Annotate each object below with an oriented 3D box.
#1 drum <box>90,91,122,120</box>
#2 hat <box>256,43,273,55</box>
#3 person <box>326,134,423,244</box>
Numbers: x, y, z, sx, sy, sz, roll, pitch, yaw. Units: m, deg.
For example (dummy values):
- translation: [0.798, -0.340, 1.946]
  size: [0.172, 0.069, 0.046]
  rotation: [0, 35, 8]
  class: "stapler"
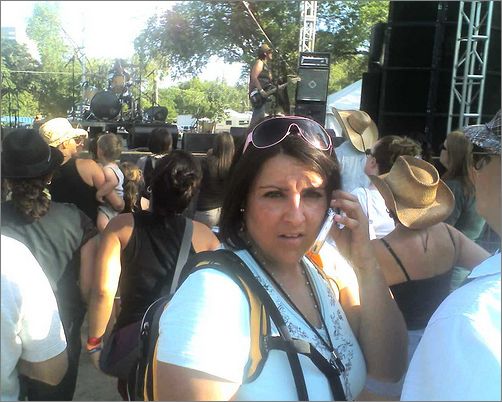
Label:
- translation: [-4.041, -2.664, 13.537]
  size: [0.747, 0.840, 0.815]
  rotation: [-8, 18, -13]
  class: "drum"
- translation: [0.272, -3.061, 9.899]
  size: [0.339, 0.222, 0.395]
  rotation: [2, 12, 14]
  class: "hat"
- translation: [0.937, -0.233, 3.463]
  size: [0.586, 0.350, 0.843]
  rotation: [-12, 25, 12]
  class: "person"
